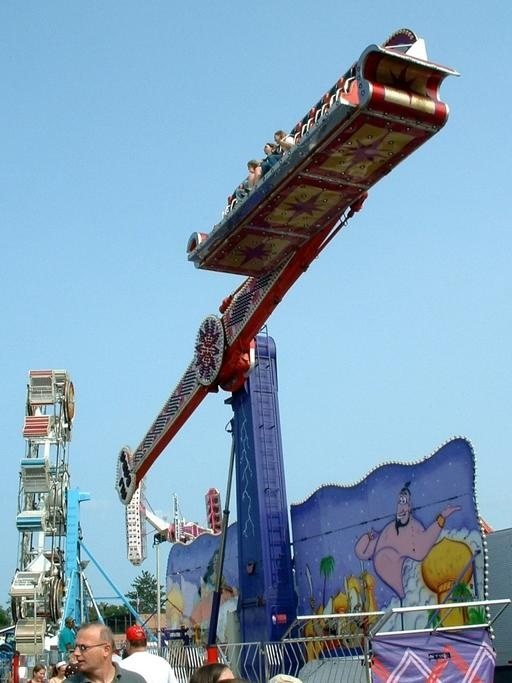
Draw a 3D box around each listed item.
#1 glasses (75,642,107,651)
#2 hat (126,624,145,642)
[{"bbox_3d":[-1.036,1.890,6.222,0.208,0.060,0.074,-11,-21,18],"label":"glasses"},{"bbox_3d":[-0.998,2.450,8.443,0.151,0.169,0.423,-1,-20,-7],"label":"hat"}]
